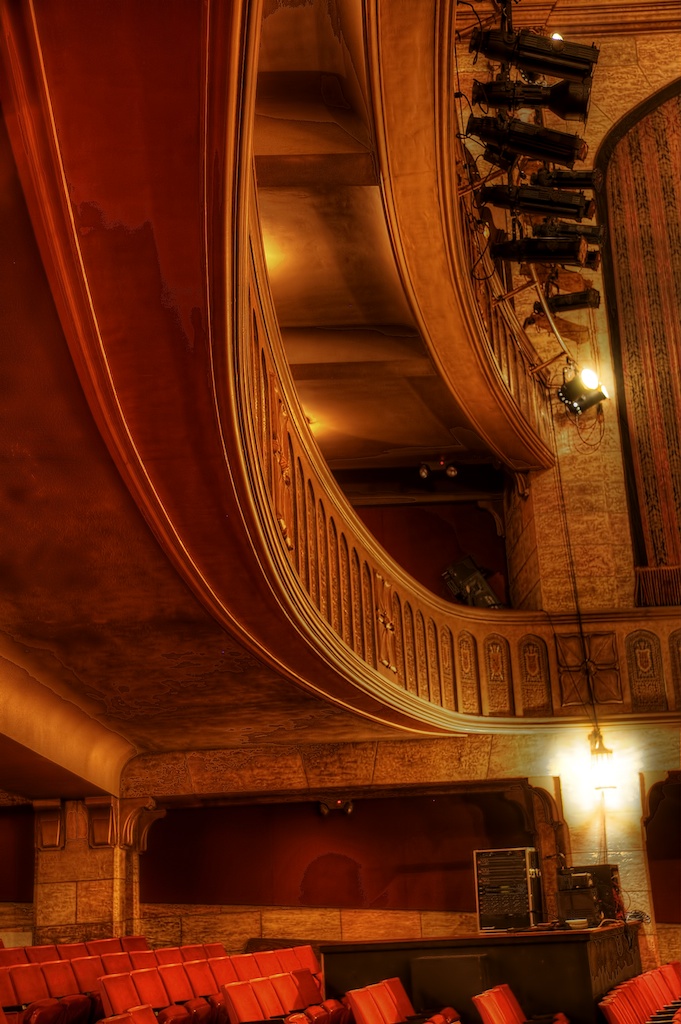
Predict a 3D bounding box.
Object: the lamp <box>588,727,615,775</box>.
[{"bbox_3d":[2.800,2.537,9.991,0.248,0.483,0.534,-13,-22,11],"label":"lamp"}]
